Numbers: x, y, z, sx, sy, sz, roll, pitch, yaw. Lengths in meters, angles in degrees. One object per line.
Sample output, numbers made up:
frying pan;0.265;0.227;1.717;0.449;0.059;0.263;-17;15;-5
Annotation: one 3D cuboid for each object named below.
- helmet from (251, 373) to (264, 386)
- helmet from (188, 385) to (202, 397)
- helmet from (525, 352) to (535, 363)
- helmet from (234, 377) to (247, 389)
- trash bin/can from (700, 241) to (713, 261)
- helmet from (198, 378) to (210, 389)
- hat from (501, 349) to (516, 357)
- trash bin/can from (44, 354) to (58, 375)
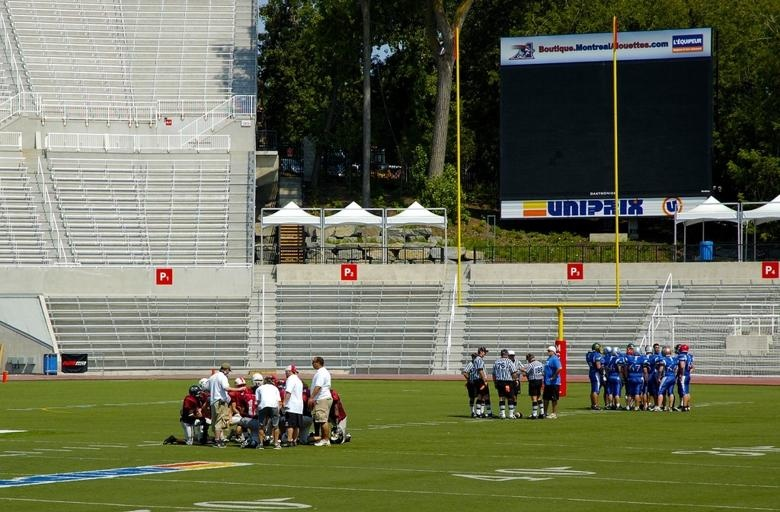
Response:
helmet;-4.167;3.887;54.167;0.375;0.375;0.412;-2;11;-40
helmet;-6.087;4.220;54.186;0.424;0.298;0.296;-13;17;-28
helmet;4.727;3.406;57.655;0.283;0.301;0.338;4;-10;-37
helmet;-4.778;4.014;54.298;0.444;0.333;0.316;4;1;16
trash bin/can;13.362;-0.243;72.389;0.543;0.569;0.790;-1;-1;8
helmet;-5.858;4.008;54.213;0.325;0.397;0.181;6;-21;0
hat;3.982;3.290;57.500;0.627;0.269;0.370;-3;3;3
trash bin/can;-13.396;4.272;67.917;0.544;0.814;0.220;-1;-1;-13
